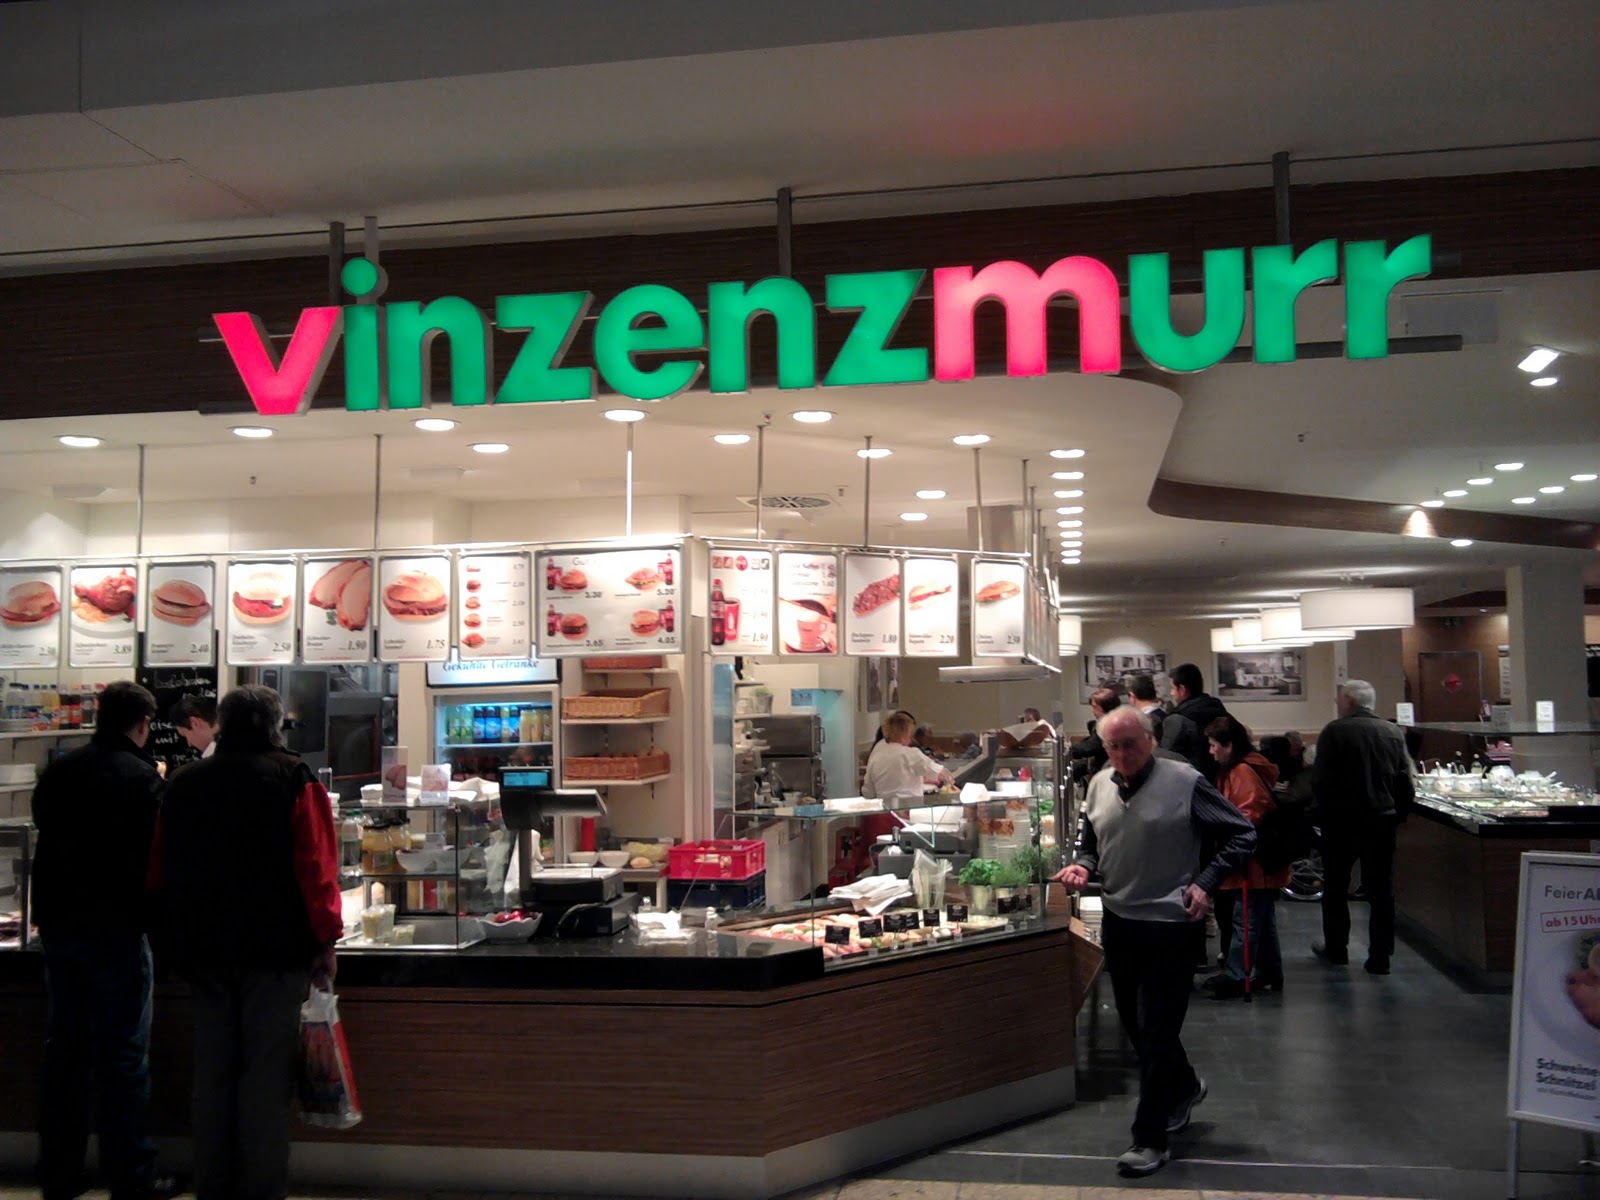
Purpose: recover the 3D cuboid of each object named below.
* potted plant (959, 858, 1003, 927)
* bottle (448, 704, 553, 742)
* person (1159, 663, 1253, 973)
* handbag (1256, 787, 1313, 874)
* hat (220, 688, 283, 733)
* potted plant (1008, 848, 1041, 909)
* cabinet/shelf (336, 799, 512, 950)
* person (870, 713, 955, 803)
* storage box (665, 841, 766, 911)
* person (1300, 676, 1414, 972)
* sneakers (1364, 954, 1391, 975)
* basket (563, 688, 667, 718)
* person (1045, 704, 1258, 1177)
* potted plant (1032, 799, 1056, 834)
[{"bbox_3d":[0.859,1.358,6.751,0.143,0.265,0.168,0,-4,-22],"label":"potted plant"},{"bbox_3d":[-2.127,0.863,10.078,0.853,0.252,0.305,2,3,4],"label":"bottle"},{"bbox_3d":[2.316,1.215,8.991,0.631,1.619,0.583,-7,12,-38],"label":"person"},{"bbox_3d":[3.136,1.337,9.059,0.255,0.340,1.234,-3,6,28],"label":"handbag"},{"bbox_3d":[-2.100,0.420,5.504,0.158,0.188,0.199,1,1,-7],"label":"hat"},{"bbox_3d":[1.076,1.310,6.766,0.146,0.279,0.077,-5,-5,44],"label":"potted plant"},{"bbox_3d":[-1.612,1.172,6.222,0.648,0.462,0.640,0,2,-2],"label":"cabinet/shelf"},{"bbox_3d":[0.819,1.196,11.131,0.627,0.672,0.850,-1,-3,2],"label":"person"},{"bbox_3d":[-0.464,1.443,7.622,0.417,0.249,0.414,0,-4,5],"label":"storage box"},{"bbox_3d":[3.560,1.431,9.195,0.560,1.817,0.538,0,-4,-23],"label":"person"},{"bbox_3d":[3.612,2.285,9.015,0.128,0.093,0.124,2,-3,-40],"label":"sneakers"},{"bbox_3d":[-1.286,0.721,10.009,0.735,0.197,0.371,-1,-3,-9],"label":"basket"},{"bbox_3d":[1.509,1.409,6.134,0.761,1.912,0.593,-2,-4,9],"label":"person"},{"bbox_3d":[1.171,1.012,6.863,0.134,0.182,0.187,-1,-1,16],"label":"potted plant"}]
